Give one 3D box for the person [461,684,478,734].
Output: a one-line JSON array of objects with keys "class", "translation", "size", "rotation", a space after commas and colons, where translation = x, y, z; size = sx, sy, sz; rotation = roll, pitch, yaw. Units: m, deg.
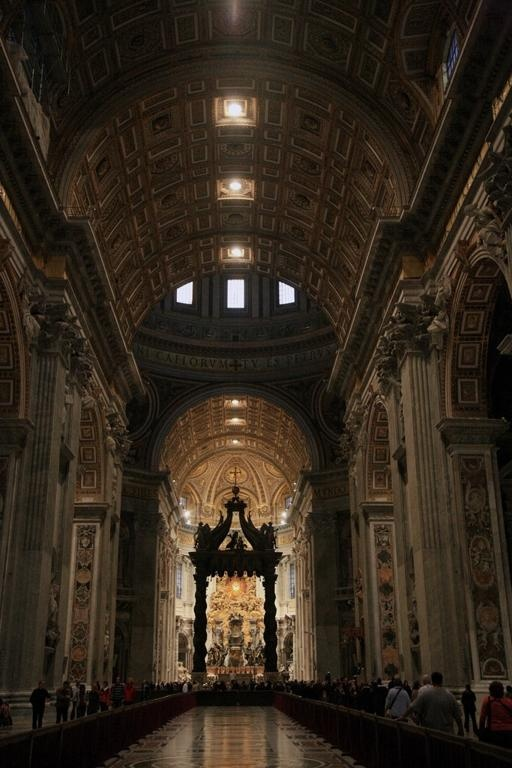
[{"class": "person", "translation": [3.217, 4.930, 9.011], "size": [0.222, 0.639, 1.045], "rotation": [-5, -24, 17]}]
